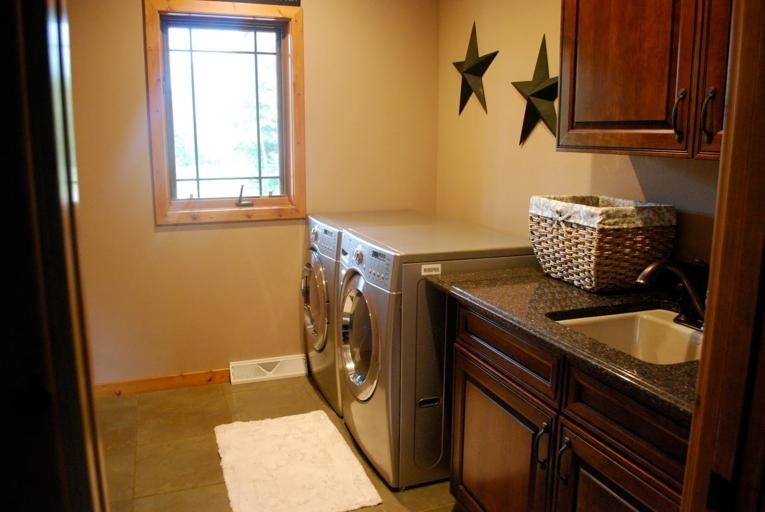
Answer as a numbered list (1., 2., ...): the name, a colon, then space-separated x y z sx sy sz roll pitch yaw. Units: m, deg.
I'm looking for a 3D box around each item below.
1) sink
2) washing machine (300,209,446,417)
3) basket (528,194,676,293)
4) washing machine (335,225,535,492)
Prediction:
1. sink: 0.817 0.280 1.824 0.268 0.174 0.259 -7 17 -16
2. washing machine: -0.289 0.226 3.605 1.000 1.346 0.927 0 12 -14
3. basket: 0.807 -0.054 2.211 0.352 0.295 0.441 -1 6 -13
4. washing machine: 0.262 0.385 3.309 1.047 1.577 1.115 -2 14 -14
